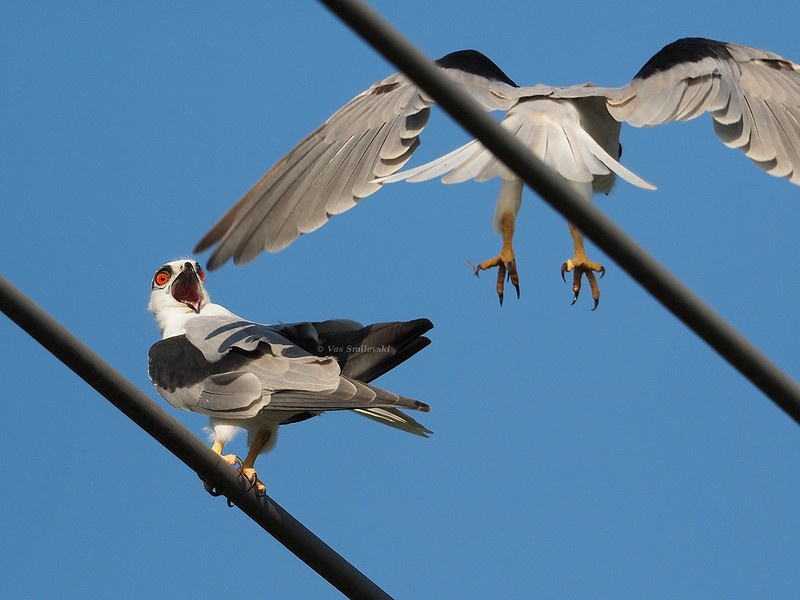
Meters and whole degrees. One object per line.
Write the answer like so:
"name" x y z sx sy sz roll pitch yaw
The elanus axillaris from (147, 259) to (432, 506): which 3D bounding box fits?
"elanus axillaris" -0.559 0.285 7.563 1.356 1.101 0.589 -7 -11 21
